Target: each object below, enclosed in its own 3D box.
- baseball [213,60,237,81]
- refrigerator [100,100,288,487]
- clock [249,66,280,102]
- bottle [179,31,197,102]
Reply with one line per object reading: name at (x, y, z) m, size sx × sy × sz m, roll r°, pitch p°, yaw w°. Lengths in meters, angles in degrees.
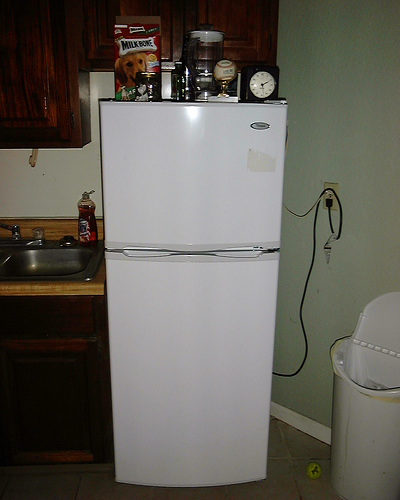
baseball at (0.080, -0.588, 1.541) m, size 0.053 × 0.070 × 0.071 m, roll -6°, pitch -9°, yaw 1°
refrigerator at (-0.057, 0.127, 1.845) m, size 0.575 × 1.417 × 0.458 m, roll 0°, pitch 18°, yaw -8°
clock at (0.211, -0.567, 1.631) m, size 0.103 × 0.127 × 0.065 m, roll 2°, pitch 3°, yaw 0°
bottle at (-0.044, -0.651, 1.669) m, size 0.062 × 0.224 × 0.117 m, roll 0°, pitch 16°, yaw 1°
